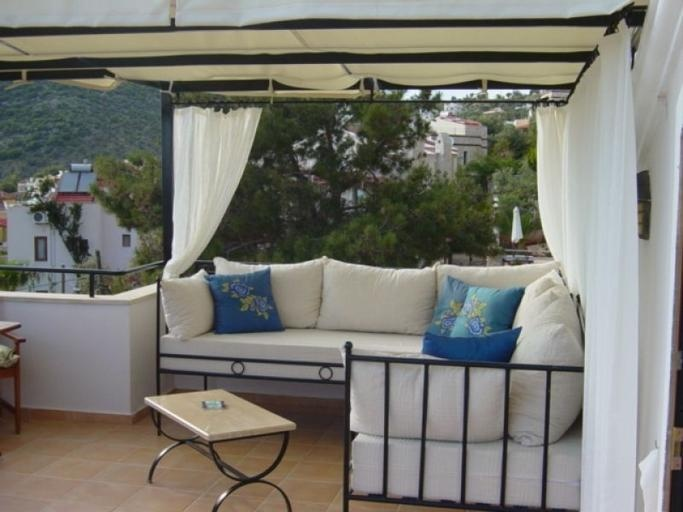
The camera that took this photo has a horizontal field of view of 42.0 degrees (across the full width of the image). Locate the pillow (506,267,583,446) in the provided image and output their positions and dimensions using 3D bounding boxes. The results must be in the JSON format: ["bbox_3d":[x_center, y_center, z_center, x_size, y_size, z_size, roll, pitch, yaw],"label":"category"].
[{"bbox_3d":[1.226,0.636,5.327,0.233,0.433,0.832,6,21,7],"label":"pillow"}]

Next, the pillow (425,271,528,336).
[{"bbox_3d":[0.927,0.481,6.487,0.284,0.612,0.802,11,0,-35],"label":"pillow"}]
